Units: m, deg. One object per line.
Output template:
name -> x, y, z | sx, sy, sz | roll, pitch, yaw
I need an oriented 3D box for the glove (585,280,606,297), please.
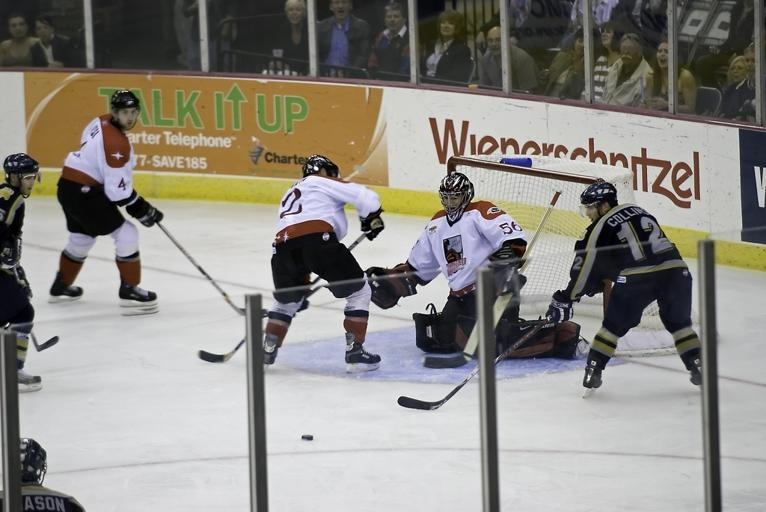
glove -> 0.873, 0.136, 4.583 | 0.061, 0.074, 0.020 | 1, 53, 6

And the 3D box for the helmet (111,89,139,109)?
helmet -> -1.699, -1.022, 7.337 | 0.163, 0.114, 0.258 | -1, 11, -8

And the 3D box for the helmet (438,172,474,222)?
helmet -> 0.407, -0.347, 6.281 | 0.228, 0.228, 0.269 | 0, 16, 16

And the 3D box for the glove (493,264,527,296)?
glove -> 0.480, 0.091, 4.239 | 0.098, 0.120, 0.042 | 11, 29, -21

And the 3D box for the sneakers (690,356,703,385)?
sneakers -> 1.248, 0.466, 4.441 | 0.045, 0.113, 0.127 | 3, 11, 11

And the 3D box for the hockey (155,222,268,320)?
hockey -> -1.121, 0.098, 7.212 | 0.762, 0.252, 0.041 | 43, 30, 7

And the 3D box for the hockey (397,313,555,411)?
hockey -> 0.353, 0.442, 4.483 | 0.372, 0.275, 0.553 | 6, 12, 25

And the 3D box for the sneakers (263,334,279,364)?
sneakers -> -0.419, 0.353, 4.158 | 0.046, 0.111, 0.052 | -1, 5, -3

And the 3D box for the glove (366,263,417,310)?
glove -> 0.047, 0.130, 4.445 | 0.216, 0.138, 0.150 | -25, 33, -29

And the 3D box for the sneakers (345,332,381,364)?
sneakers -> -0.082, 0.381, 4.388 | 0.077, 0.134, 0.214 | -4, -6, 35

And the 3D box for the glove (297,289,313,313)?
glove -> -0.296, 0.181, 4.273 | 0.066, 0.069, 0.084 | -2, -4, 22

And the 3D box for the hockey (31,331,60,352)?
hockey -> -1.271, 0.323, 4.197 | 0.116, 0.075, 0.018 | -5, -5, 12

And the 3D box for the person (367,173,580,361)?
person -> 0.386, 0.056, 5.366 | 1.125, 0.888, 0.681 | -3, 0, 43

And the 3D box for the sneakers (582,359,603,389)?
sneakers -> 0.832, 0.478, 4.435 | 0.086, 0.111, 0.081 | 11, -25, 7

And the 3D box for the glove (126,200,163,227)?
glove -> -1.594, -0.286, 7.483 | 0.204, 0.159, 0.225 | -16, 35, -30

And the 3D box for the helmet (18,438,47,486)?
helmet -> -1.335, 0.788, 4.235 | 0.152, 0.156, 0.162 | 3, 5, -9

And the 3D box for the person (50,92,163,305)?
person -> -1.779, -0.376, 7.394 | 0.831, 1.406, 0.434 | 9, 14, 33

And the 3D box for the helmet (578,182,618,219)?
helmet -> 1.174, -0.303, 6.157 | 0.258, 0.205, 0.190 | -10, 0, 7

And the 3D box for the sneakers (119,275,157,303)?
sneakers -> -1.600, 0.235, 7.175 | 0.300, 0.153, 0.144 | 0, 2, 14
